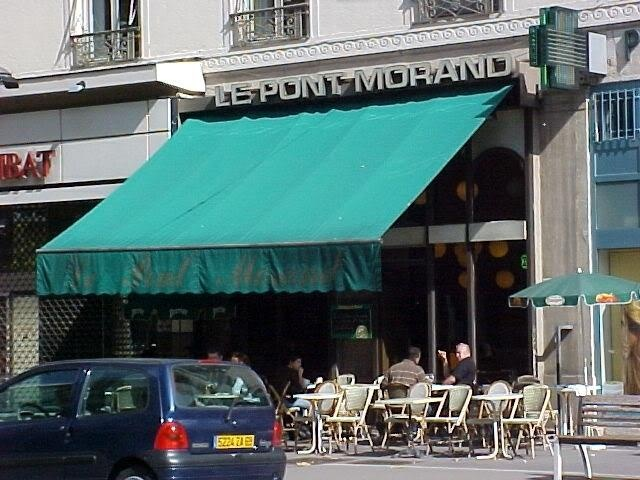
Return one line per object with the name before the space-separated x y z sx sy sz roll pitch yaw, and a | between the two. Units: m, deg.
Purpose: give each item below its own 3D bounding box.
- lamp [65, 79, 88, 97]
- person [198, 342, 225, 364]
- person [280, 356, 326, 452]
lamp | -4.537 -2.836 26.858 0.333 0.222 0.392 2 -10 -19
person | -1.842 1.914 24.430 0.488 0.519 0.931 0 -3 -3
person | -0.300 2.881 23.453 0.762 1.029 0.723 -6 -2 -32
